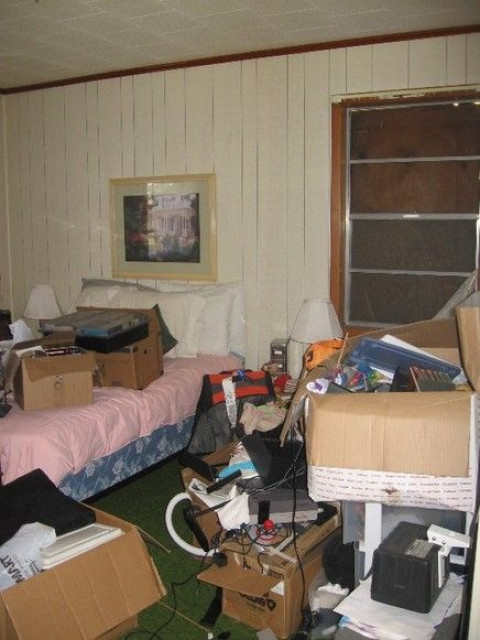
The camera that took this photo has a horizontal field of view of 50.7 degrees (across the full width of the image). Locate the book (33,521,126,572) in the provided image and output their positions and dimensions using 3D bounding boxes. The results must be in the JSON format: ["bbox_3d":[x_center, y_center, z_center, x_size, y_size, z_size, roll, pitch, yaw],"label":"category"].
[{"bbox_3d":[-0.513,0.684,1.561,0.114,0.046,0.154,7,14,43],"label":"book"}]

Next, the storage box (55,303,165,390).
[{"bbox_3d":[-0.776,0.118,3.189,0.502,0.480,0.497,2,10,24],"label":"storage box"}]

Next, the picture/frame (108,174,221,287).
[{"bbox_3d":[-0.597,-0.750,4.201,0.973,0.803,0.040,5,11,27],"label":"picture/frame"}]

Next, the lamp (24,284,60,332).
[{"bbox_3d":[-1.561,-0.138,4.044,0.323,0.262,0.267,3,11,42],"label":"lamp"}]
